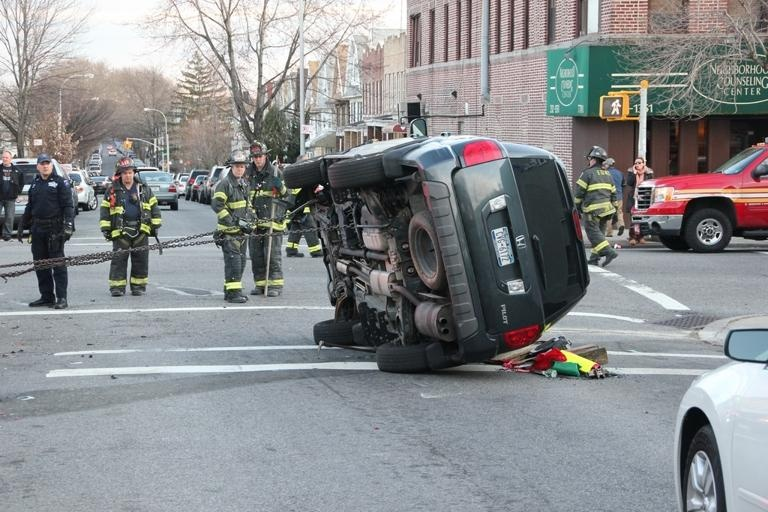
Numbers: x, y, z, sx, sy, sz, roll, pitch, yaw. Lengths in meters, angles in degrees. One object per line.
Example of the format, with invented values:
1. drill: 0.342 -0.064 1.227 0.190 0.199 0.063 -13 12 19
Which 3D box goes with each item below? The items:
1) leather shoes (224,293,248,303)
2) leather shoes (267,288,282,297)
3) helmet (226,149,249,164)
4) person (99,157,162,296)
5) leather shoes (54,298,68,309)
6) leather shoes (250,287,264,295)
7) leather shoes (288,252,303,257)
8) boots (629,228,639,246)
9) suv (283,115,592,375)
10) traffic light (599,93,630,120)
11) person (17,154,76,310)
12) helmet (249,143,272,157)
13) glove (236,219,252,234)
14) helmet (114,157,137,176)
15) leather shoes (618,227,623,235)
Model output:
1. leather shoes: -2.563 0.734 12.090 0.374 0.150 0.151 -1 7 -3
2. leather shoes: -2.022 0.685 12.876 0.123 0.096 0.247 -8 -4 26
3. helmet: -2.612 -1.775 12.570 0.381 0.233 0.485 5 -10 -8
4. person: -4.672 -0.523 12.856 1.024 2.506 1.475 -2 8 -20
5. leather shoes: -5.313 0.775 11.453 0.204 0.173 0.234 -3 8 -24
6. leather shoes: -2.398 0.666 13.074 0.114 0.128 0.310 -2 7 -40
7. leather shoes: -2.329 0.011 18.549 0.380 0.114 0.249 -3 3 -35
8. boots: 7.319 -0.492 20.221 0.332 0.368 0.944 0 7 10
9. suv: 0.496 -0.275 8.668 3.398 2.413 1.564 -2 14 43
10. traffic light: 7.657 -4.930 23.053 0.845 0.833 0.724 3 8 21
11. person: -5.668 -0.429 11.790 0.777 2.504 1.337 -3 8 -27
12. helmet: -2.356 -1.976 13.205 0.313 0.237 0.409 -3 8 -11
13. glove: -2.450 -0.519 12.394 0.235 0.238 0.225 1 7 5
14. helmet: -4.858 -1.626 13.061 0.413 0.266 0.546 -5 11 -8
15. leather shoes: 7.480 -0.768 21.974 0.257 0.090 0.187 -32 14 21
